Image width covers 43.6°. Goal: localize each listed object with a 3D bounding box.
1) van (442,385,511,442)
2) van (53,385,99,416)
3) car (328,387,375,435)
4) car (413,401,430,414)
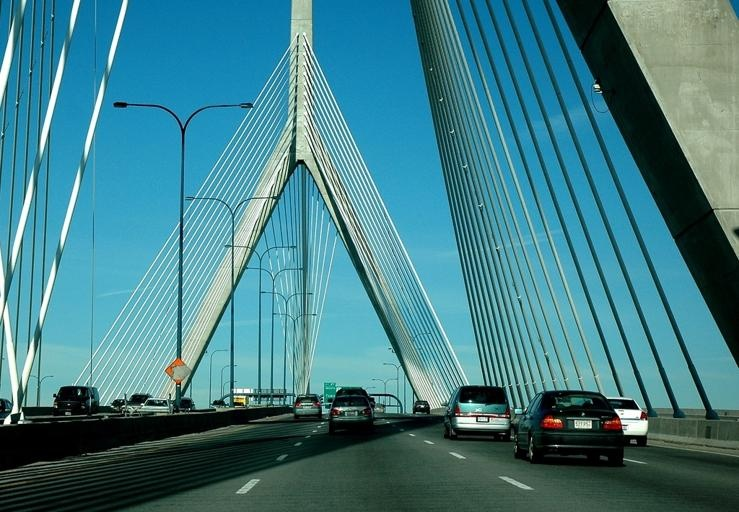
[{"bbox_3d":[3.483,4.860,29.635,1.849,1.642,2.094,-2,-19,1],"label":"van"},{"bbox_3d":[-15.688,7.744,49.537,2.148,1.842,2.241,6,-20,-23],"label":"van"},{"bbox_3d":[-0.713,5.793,34.328,1.601,1.614,1.518,0,-18,-6],"label":"car"},{"bbox_3d":[4.160,11.890,73.125,0.946,1.407,2.040,0,-19,-6],"label":"car"}]
